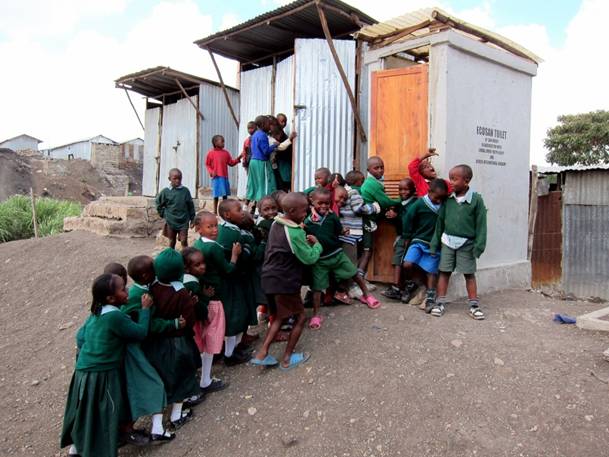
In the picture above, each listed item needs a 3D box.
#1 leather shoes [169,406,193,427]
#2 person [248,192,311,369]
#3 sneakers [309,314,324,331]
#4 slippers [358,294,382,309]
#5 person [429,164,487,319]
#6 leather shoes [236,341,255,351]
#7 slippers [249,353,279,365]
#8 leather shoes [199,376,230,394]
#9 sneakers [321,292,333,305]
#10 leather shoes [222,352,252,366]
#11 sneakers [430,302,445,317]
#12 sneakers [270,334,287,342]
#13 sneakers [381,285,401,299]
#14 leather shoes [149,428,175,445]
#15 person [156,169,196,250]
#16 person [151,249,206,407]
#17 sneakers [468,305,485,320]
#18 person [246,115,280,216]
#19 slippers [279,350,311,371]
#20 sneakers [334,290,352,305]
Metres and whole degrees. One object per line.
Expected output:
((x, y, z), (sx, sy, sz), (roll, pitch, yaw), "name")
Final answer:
((-1.155, 1.738, 4.199), (0.091, 0.107, 0.227), (5, 13, 28), "leather shoes")
((-0.235, 0.514, 4.546), (0.560, 1.735, 0.338), (-2, 8, -1), "person")
((0.133, 1.074, 5.118), (0.124, 0.103, 0.357), (-2, -7, 5), "sneakers")
((0.793, 0.886, 5.520), (0.110, 0.087, 0.240), (-10, 10, -26), "slippers")
((1.786, 0.152, 5.217), (0.623, 1.750, 0.439), (1, 9, 17), "person")
((-0.672, 1.308, 4.999), (0.173, 0.135, 0.060), (-8, 18, -22), "leather shoes")
((-0.419, 1.340, 4.598), (0.284, 0.126, 0.106), (8, -4, -21), "slippers")
((-0.899, 1.570, 4.477), (0.253, 0.117, 0.116), (-6, 6, -28), "leather shoes")
((0.291, 0.892, 5.629), (0.084, 0.115, 0.163), (1, -16, 4), "sneakers")
((-0.727, 1.397, 4.816), (0.274, 0.127, 0.128), (-13, 10, -14), "leather shoes")
((1.547, 0.943, 5.228), (0.102, 0.125, 0.278), (-3, -11, 23), "sneakers")
((-0.321, 1.222, 5.031), (0.226, 0.107, 0.089), (-3, 2, 20), "sneakers")
((1.116, 0.821, 5.775), (0.126, 0.119, 0.245), (10, -5, -38), "sneakers")
((-1.273, 1.846, 4.004), (0.223, 0.110, 0.107), (2, -1, -30), "leather shoes")
((-2.166, -0.328, 7.459), (0.594, 1.327, 0.699), (-5, 9, -18), "person")
((-1.243, 0.989, 4.310), (0.505, 1.587, 0.597), (6, 8, 41), "person")
((1.997, 0.965, 5.167), (0.096, 0.097, 0.212), (-4, -4, -1), "sneakers")
((-0.732, -1.095, 7.688), (0.503, 1.620, 0.459), (9, 15, 31), "person")
((-0.102, 1.322, 4.594), (0.287, 0.126, 0.141), (-19, 16, -17), "slippers")
((0.491, 0.852, 5.649), (0.259, 0.132, 0.110), (13, 10, 13), "sneakers")
